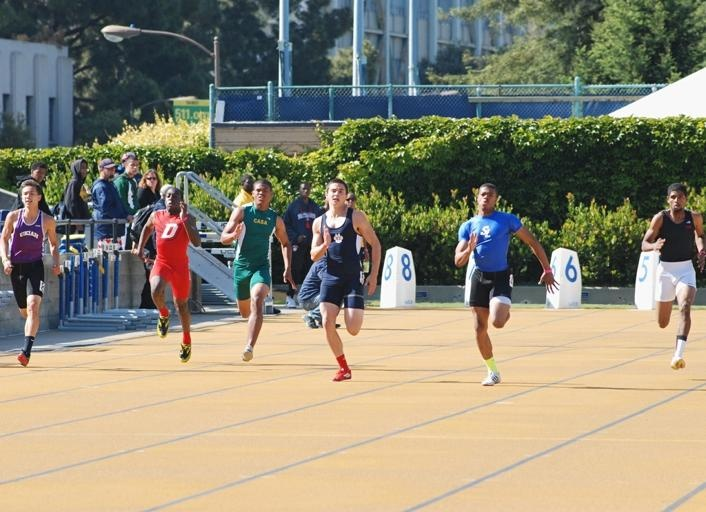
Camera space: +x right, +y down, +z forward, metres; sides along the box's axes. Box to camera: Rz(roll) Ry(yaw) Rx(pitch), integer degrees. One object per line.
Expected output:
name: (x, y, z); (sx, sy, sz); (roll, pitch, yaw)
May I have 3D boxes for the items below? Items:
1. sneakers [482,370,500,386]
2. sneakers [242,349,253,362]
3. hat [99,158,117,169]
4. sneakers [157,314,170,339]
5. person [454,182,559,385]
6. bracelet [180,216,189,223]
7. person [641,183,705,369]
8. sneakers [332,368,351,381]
sneakers: (1.810, 1.604, 16.628); (0.224, 0.177, 0.337); (1, 4, 7)
sneakers: (-1.455, 1.397, 17.516); (0.093, 0.112, 0.256); (2, -15, 2)
hat: (-4.404, -1.635, 22.639); (0.252, 0.139, 0.193); (-10, -3, 31)
sneakers: (-2.856, 1.099, 19.173); (0.164, 0.486, 0.211); (3, 18, -4)
person: (1.933, 0.378, 16.712); (1.147, 2.610, 1.037); (0, 3, 5)
bracelet: (-2.420, -0.502, 18.290); (0.084, 0.078, 0.085); (5, 9, 28)
person: (4.421, 0.290, 17.615); (0.810, 2.538, 1.159); (2, 4, 29)
sneakers: (-0.125, 1.596, 16.887); (0.109, 0.139, 0.328); (3, 6, 42)
